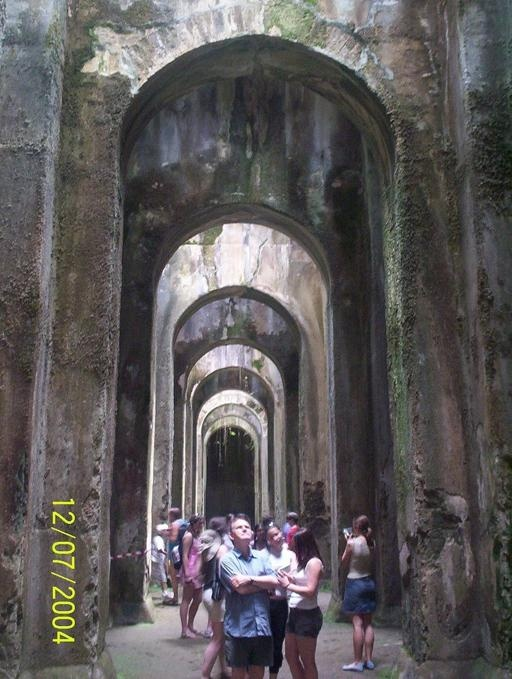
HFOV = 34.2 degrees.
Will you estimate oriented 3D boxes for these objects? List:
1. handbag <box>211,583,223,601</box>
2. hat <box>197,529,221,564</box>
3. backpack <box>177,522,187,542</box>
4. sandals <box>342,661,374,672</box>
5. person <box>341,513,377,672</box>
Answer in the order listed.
[{"bbox_3d":[-0.269,1.793,5.868,0.074,0.121,0.380,0,-20,-3],"label":"handbag"},{"bbox_3d":[-0.378,1.723,6.858,0.139,0.323,0.279,2,-30,-2],"label":"hat"},{"bbox_3d":[-0.817,2.147,9.207,0.066,0.318,0.174,6,0,0],"label":"backpack"},{"bbox_3d":[0.825,2.623,6.630,0.295,0.076,0.202,2,-20,-9],"label":"sandals"},{"bbox_3d":[0.841,2.084,6.830,0.267,1.238,0.566,-2,-14,8],"label":"person"}]
